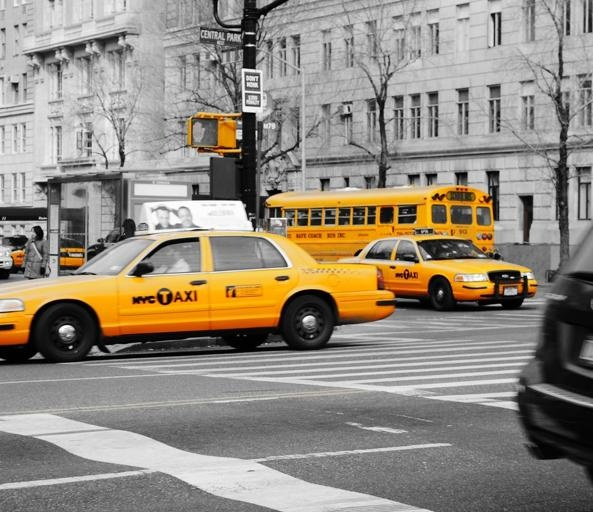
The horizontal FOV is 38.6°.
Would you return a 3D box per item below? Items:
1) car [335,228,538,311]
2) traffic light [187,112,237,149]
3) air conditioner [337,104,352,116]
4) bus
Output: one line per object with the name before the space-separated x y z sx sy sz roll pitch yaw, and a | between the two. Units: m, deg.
car | 3.587 0.376 22.187 2.209 1.287 5.032 1 -3 -38
traffic light | -1.481 -2.245 15.206 1.114 0.747 0.395 0 -5 -31
air conditioner | 2.672 -8.222 47.326 0.432 0.631 0.792 5 -5 -42
bus | 2.926 -1.082 31.247 7.180 1.727 1.982 -4 -6 -5
